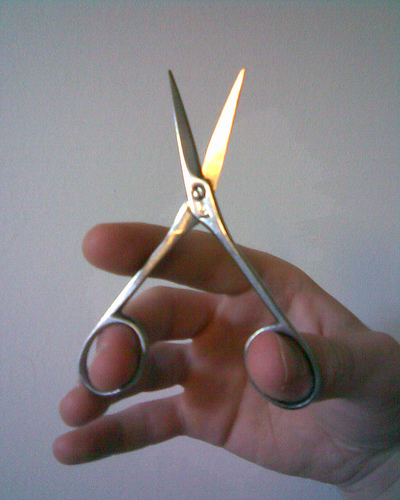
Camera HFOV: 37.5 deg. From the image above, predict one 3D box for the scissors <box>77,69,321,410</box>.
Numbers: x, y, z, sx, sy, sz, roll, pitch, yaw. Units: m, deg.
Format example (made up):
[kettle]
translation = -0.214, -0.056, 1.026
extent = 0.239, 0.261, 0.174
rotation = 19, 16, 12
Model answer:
[scissors]
translation = 0.003, -0.022, 0.784
extent = 0.266, 0.039, 0.550
rotation = 5, 44, -5
